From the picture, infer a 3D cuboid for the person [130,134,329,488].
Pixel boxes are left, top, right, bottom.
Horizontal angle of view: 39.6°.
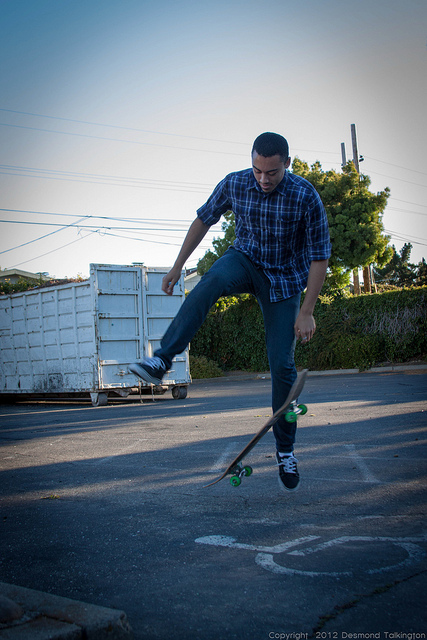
[{"bbox_3d":[0.209,0.087,3.712,0.989,2.248,1.292,0,3,9],"label":"person"}]
